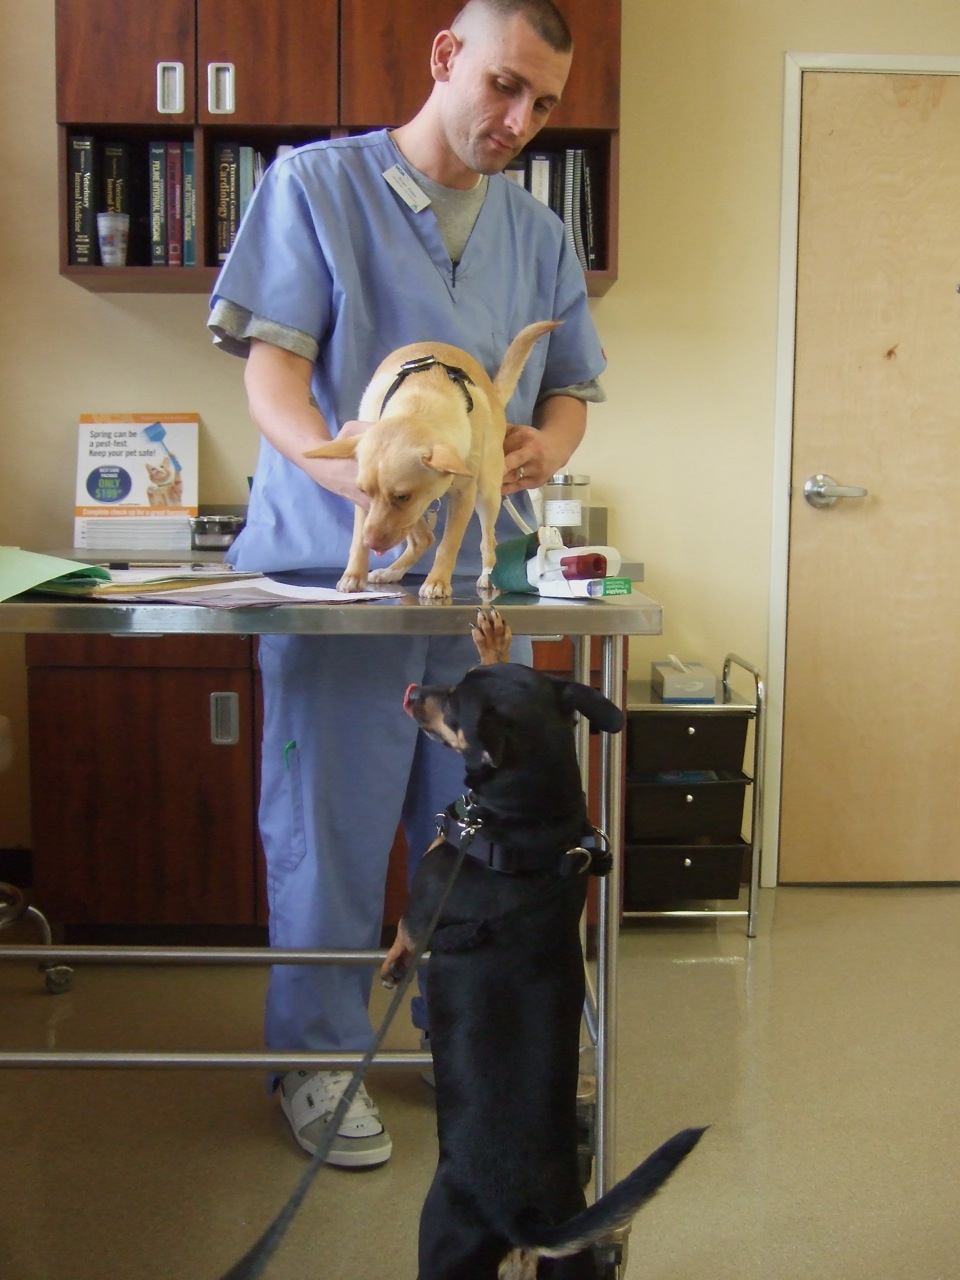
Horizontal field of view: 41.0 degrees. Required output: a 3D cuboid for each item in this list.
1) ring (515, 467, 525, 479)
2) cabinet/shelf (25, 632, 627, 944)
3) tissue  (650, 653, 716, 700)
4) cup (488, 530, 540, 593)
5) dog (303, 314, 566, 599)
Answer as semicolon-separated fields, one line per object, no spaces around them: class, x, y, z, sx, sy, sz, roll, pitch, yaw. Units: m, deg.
ring;0.046;-0.191;1.464;0.010;0.012;0.012;-8;-11;37
cabinet/shelf;-0.489;0.290;2.735;1.127;0.750;0.597;0;3;-5
tissue ;0.438;0.070;2.705;0.097;0.058;0.137;-1;10;-4
cup;0.032;-0.091;1.411;0.049;0.066;0.064;-1;-5;-8
dog;-0.026;-0.218;1.432;0.145;0.244;0.523;7;22;15
